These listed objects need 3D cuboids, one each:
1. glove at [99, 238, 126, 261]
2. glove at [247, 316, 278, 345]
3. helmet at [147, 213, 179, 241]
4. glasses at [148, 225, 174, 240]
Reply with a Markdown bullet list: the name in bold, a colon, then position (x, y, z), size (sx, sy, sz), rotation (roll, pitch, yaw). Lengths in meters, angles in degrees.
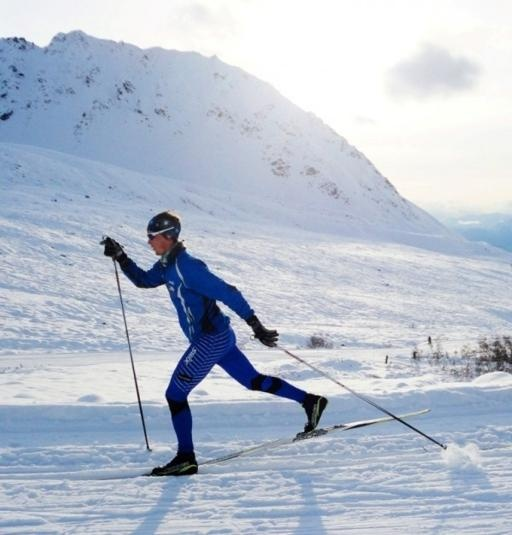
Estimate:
- **glove**: position (-2.200, -0.264, 11.707), size (0.311, 0.403, 0.159), rotation (-45, 1, -27)
- **glove**: position (0.102, 0.911, 11.095), size (0.354, 0.528, 0.138), rotation (-34, 18, 29)
- **helmet**: position (-1.222, -0.584, 11.103), size (0.545, 0.329, 0.334), rotation (12, -8, 0)
- **glasses**: position (-1.371, -0.496, 11.034), size (0.340, 0.190, 0.127), rotation (10, 9, 19)
